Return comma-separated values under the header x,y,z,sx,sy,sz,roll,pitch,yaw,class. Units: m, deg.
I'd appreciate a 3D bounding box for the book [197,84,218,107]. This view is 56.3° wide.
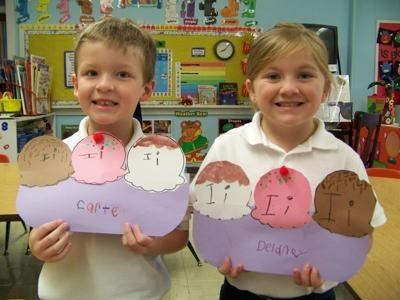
x,y,z,sx,sy,sz,roll,pitch,yaw,class
0.059,-0.656,4.831,0.354,0.351,0.202,0,2,-3,book
